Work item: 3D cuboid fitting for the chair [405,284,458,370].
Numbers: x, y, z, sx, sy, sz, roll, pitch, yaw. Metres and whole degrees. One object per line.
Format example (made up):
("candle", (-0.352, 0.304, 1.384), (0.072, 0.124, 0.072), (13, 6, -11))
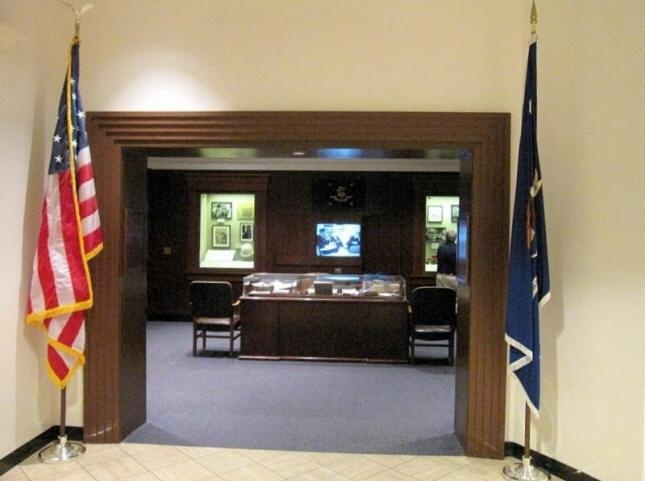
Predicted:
("chair", (1.558, 1.219, 8.017), (0.779, 1.055, 0.702), (0, -6, 26))

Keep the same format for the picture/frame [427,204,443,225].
("picture/frame", (2.133, -0.496, 10.708), (0.345, 0.390, 0.042), (2, -4, 0))

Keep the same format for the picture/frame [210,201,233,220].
("picture/frame", (-1.930, -0.588, 10.873), (0.336, 0.295, 0.037), (1, -1, -2))

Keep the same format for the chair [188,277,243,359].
("chair", (-1.534, 1.102, 8.280), (0.751, 1.131, 0.880), (0, -1, 15))

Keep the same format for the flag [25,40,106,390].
("flag", (-2.261, -0.227, 4.929), (0.606, 3.048, 0.364), (-2, 7, -23))

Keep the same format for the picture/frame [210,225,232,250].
("picture/frame", (-1.935, -0.061, 10.899), (0.436, 0.562, 0.040), (0, 1, -2))

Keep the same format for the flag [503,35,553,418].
("flag", (1.727, -0.118, 4.694), (0.319, 3.050, 0.263), (5, 7, 36))
